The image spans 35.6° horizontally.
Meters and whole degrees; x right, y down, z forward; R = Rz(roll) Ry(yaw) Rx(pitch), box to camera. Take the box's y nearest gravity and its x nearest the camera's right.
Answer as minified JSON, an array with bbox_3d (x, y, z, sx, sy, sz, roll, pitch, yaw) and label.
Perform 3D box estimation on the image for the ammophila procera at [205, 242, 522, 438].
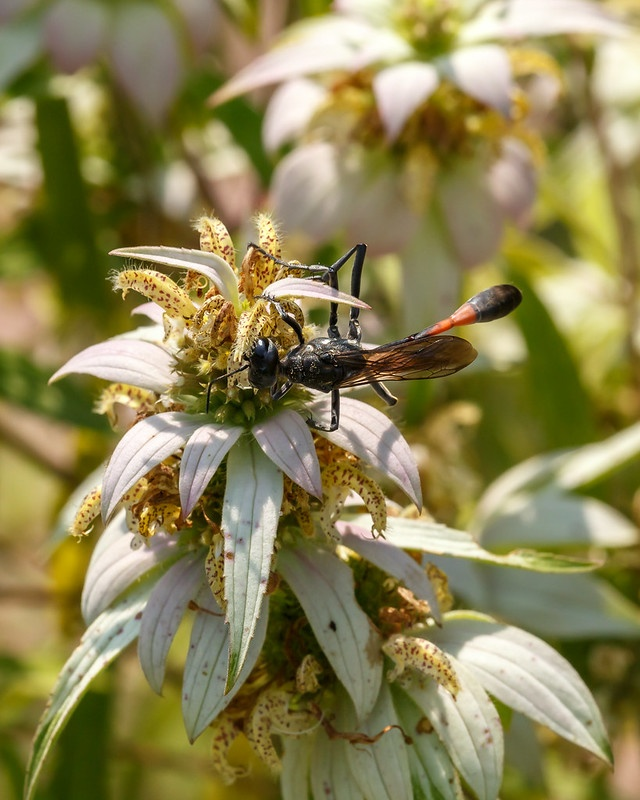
[{"bbox_3d":[0.064,-0.064,0.928,0.278,0.076,0.171,-4,66,-37],"label":"ammophila procera"}]
